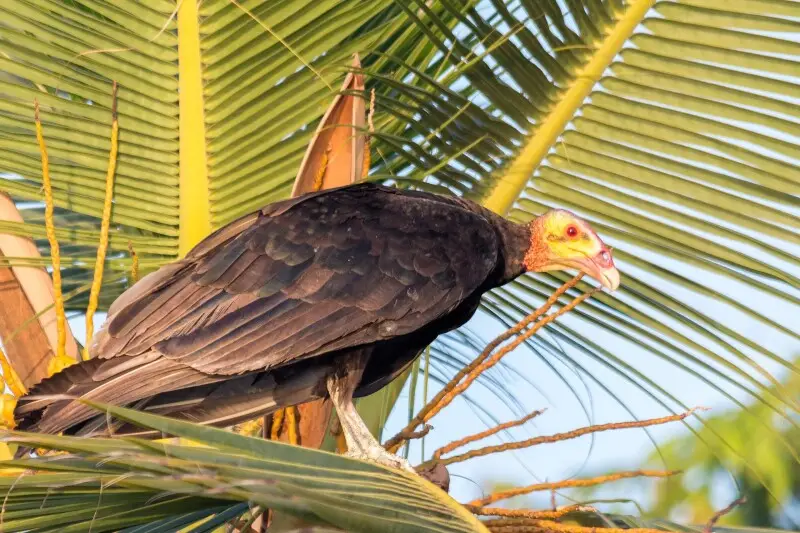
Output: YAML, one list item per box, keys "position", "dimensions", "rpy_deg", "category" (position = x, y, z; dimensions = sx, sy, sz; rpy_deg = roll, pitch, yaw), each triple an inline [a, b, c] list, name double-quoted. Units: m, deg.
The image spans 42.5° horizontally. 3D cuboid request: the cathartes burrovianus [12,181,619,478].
- position: [-0.337, 0.201, 4.341]
  dimensions: [2.594, 0.990, 0.715]
  rpy_deg: [0, -9, -6]
  category: "cathartes burrovianus"
